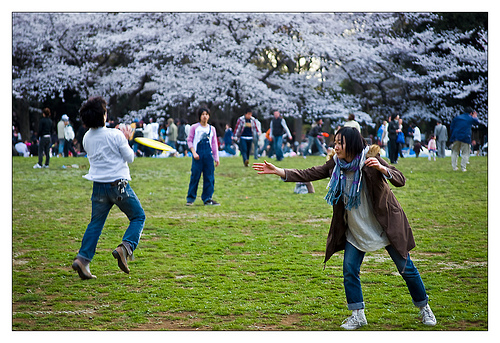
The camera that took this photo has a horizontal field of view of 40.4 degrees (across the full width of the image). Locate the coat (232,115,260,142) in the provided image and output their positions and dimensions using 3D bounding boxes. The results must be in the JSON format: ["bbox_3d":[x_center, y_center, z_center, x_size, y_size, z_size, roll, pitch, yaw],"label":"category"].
[{"bbox_3d":[-0.197,-1.758,27.308,1.176,0.882,0.778,-2,7,-20],"label":"coat"}]

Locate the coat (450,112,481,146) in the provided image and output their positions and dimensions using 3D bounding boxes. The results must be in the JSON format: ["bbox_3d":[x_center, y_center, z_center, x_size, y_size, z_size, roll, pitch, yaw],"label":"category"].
[{"bbox_3d":[7.620,-1.535,24.207,0.906,1.109,0.489,3,6,19],"label":"coat"}]

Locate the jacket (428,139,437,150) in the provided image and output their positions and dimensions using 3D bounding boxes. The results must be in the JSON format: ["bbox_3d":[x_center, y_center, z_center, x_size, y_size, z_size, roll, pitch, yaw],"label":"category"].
[{"bbox_3d":[7.651,-1.172,28.540,0.258,0.431,0.419,0,10,8],"label":"jacket"}]

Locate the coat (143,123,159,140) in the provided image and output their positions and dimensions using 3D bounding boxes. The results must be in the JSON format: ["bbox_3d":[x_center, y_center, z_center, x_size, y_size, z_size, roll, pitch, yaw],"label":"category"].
[{"bbox_3d":[-4.433,-1.779,30.009,0.344,0.379,1.110,-10,9,11],"label":"coat"}]

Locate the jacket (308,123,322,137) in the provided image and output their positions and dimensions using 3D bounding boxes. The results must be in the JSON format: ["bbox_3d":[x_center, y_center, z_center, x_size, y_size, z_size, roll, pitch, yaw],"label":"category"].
[{"bbox_3d":[3.073,-1.956,32.048,0.349,0.355,1.142,-6,-29,-6],"label":"jacket"}]

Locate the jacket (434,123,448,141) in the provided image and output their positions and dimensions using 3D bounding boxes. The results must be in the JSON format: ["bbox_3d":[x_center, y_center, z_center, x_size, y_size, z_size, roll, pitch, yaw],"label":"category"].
[{"bbox_3d":[8.004,-1.647,28.417,0.507,0.712,0.837,2,6,13],"label":"jacket"}]

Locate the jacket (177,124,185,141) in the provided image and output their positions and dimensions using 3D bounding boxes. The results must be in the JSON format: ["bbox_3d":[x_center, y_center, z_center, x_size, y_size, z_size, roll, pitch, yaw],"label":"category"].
[{"bbox_3d":[-3.202,-1.809,31.272,0.318,0.790,0.571,0,6,-5],"label":"jacket"}]

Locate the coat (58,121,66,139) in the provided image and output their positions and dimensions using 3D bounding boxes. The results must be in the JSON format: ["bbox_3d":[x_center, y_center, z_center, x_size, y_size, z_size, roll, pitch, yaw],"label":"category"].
[{"bbox_3d":[-8.119,-1.832,29.465,0.489,0.958,0.697,-1,4,-21],"label":"coat"}]

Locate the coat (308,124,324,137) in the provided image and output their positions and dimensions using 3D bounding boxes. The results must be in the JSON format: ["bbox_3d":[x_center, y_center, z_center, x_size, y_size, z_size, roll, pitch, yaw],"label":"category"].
[{"bbox_3d":[3.048,-1.913,31.379,0.443,0.570,0.918,5,8,34],"label":"coat"}]

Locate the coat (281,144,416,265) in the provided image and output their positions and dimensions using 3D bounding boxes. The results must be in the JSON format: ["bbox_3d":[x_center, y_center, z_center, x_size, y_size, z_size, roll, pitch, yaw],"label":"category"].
[{"bbox_3d":[2.118,0.780,14.926,2.672,2.731,2.014,-8,11,6],"label":"coat"}]

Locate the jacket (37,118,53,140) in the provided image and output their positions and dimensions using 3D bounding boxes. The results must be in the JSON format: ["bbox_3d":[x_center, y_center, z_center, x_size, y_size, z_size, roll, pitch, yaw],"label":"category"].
[{"bbox_3d":[-7.400,-1.548,24.390,0.479,0.756,0.514,-1,6,-19],"label":"jacket"}]

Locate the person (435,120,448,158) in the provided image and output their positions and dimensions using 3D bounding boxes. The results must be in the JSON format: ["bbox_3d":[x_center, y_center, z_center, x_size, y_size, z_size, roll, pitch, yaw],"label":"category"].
[{"bbox_3d":[8.005,-1.304,28.516,0.496,1.494,0.979,2,6,16],"label":"person"}]

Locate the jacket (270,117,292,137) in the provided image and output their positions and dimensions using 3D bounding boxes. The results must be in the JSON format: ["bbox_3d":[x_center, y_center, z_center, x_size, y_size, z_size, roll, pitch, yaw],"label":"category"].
[{"bbox_3d":[1.215,-1.906,29.319,0.576,0.879,1.505,-2,7,-21],"label":"jacket"}]
